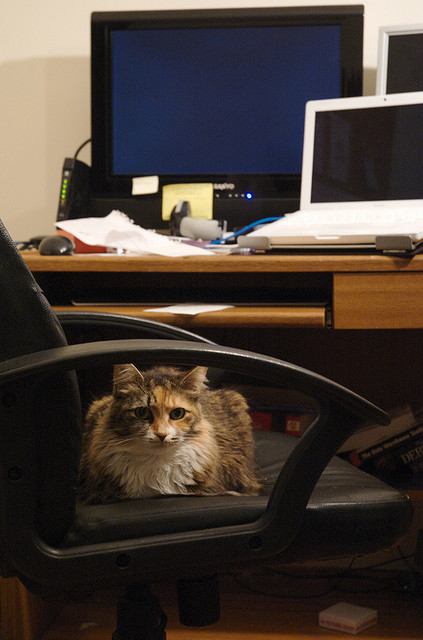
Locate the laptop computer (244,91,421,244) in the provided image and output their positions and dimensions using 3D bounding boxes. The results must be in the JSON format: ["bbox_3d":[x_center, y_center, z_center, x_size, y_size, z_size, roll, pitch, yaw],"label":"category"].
[{"bbox_3d":[0.246,-0.297,1.190,0.382,0.346,0.300,3,7,27],"label":"laptop computer"}]

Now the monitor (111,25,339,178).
[{"bbox_3d":[0.047,-0.508,1.395,0.409,0.273,0.044,0,4,5],"label":"monitor"}]

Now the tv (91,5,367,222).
[{"bbox_3d":[0.052,-0.469,1.374,0.578,0.398,0.060,0,3,8],"label":"tv"}]

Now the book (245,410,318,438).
[{"bbox_3d":[0.152,0.219,1.318,0.161,0.036,0.147,5,-1,5],"label":"book"}]

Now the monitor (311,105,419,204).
[{"bbox_3d":[0.301,-0.312,1.162,0.215,0.158,0.017,0,-4,21],"label":"monitor"}]
